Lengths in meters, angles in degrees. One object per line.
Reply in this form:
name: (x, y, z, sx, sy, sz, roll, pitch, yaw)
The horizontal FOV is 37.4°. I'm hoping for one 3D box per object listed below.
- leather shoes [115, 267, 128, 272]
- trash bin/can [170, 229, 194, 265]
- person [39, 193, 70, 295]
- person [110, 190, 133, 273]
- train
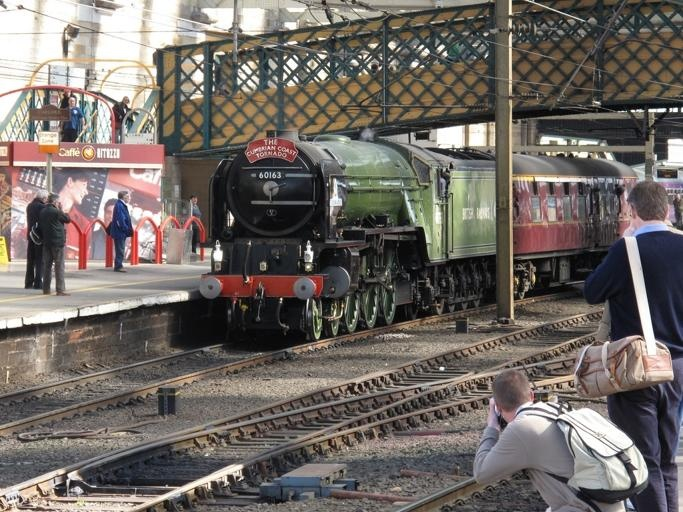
leather shoes: (-5.396, 0.338, 24.616, 0.356, 0.156, 0.123, -1, 1, 17)
trash bin/can: (-4.532, -0.255, 28.202, 0.653, 1.002, 0.588, 0, -1, -12)
person: (-5.662, -0.226, 19.936, 0.546, 2.026, 0.951, 0, -1, -17)
person: (-5.371, -0.601, 24.480, 0.553, 1.971, 0.837, 0, -1, -14)
train: (3.450, -0.850, 27.341, 4.194, 4.859, 20.180, 0, 1, 24)
